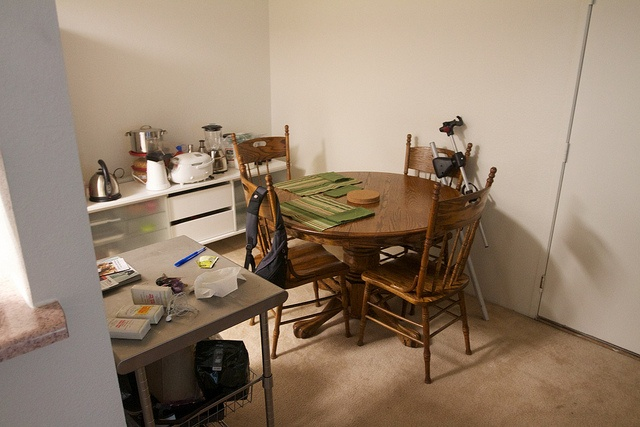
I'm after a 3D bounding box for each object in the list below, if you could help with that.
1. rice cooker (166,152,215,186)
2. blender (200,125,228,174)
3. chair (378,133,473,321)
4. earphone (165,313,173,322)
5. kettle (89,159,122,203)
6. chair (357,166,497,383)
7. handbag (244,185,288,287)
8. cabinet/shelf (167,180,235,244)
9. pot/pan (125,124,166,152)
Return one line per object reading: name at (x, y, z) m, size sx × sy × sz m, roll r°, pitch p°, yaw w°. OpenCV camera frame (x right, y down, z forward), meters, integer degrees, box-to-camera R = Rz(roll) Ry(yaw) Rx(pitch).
rice cooker at (-1.144, -0.458, 3.880) m, size 0.460 × 0.262 × 0.410 m, roll -7°, pitch 23°, yaw -24°
blender at (-1.006, -0.627, 4.129) m, size 0.218 × 0.474 × 0.226 m, roll 4°, pitch 21°, yaw 21°
chair at (0.930, 0.053, 3.651) m, size 0.660 × 1.332 × 0.721 m, roll -19°, pitch 29°, yaw -40°
earphone at (-0.678, 0.470, 1.932) m, size 0.029 × 0.024 × 0.036 m, roll -8°, pitch 16°, yaw -20°
kettle at (-1.730, -0.261, 3.385) m, size 0.263 × 0.327 × 0.177 m, roll -5°, pitch 16°, yaw -10°
chair at (0.733, 0.450, 2.957) m, size 0.819 × 1.602 × 0.902 m, roll -21°, pitch 31°, yaw -36°
handbag at (-0.302, 0.144, 2.574) m, size 0.267 × 0.564 × 0.283 m, roll -7°, pitch 24°, yaw -23°
cabinet/shelf at (-1.124, -0.040, 3.947) m, size 0.368 × 0.505 × 0.623 m, roll 19°, pitch 25°, yaw 40°
pot/pan at (-1.535, -0.662, 3.811) m, size 0.286 × 0.234 × 0.235 m, roll -14°, pitch 20°, yaw -38°
